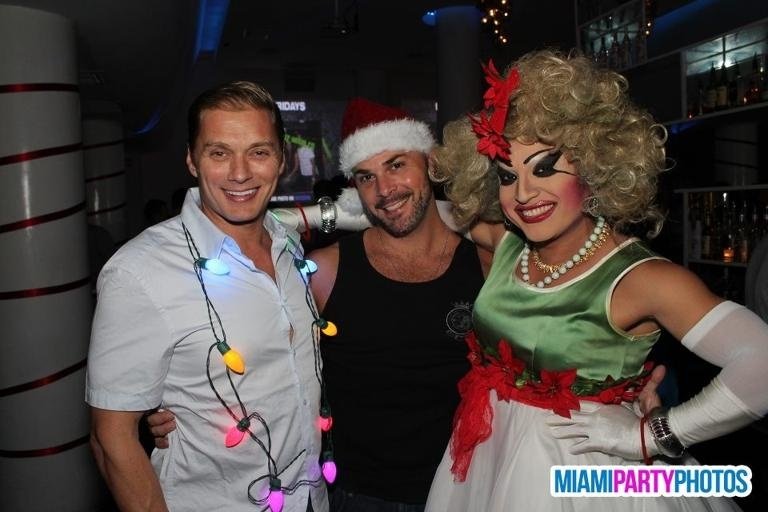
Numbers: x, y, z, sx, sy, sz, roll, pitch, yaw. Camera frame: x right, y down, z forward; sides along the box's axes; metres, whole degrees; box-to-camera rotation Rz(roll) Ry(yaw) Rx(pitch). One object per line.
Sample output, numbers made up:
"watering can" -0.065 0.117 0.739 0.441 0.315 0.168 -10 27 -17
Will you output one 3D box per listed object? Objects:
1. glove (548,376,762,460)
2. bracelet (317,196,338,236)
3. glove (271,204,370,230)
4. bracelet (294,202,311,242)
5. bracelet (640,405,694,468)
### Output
"glove" 1.257 0.823 2.863 1.120 0.383 0.307 -16 -28 21
"bracelet" -0.358 -0.273 3.860 0.067 0.203 0.169 -4 2 -1
"glove" -0.426 -0.251 3.818 0.358 0.140 0.282 1 -5 -7
"bracelet" -0.521 -0.220 3.800 0.042 0.204 0.206 -12 24 5
"bracelet" 1.332 0.886 2.734 0.086 0.253 0.222 -32 -10 26
